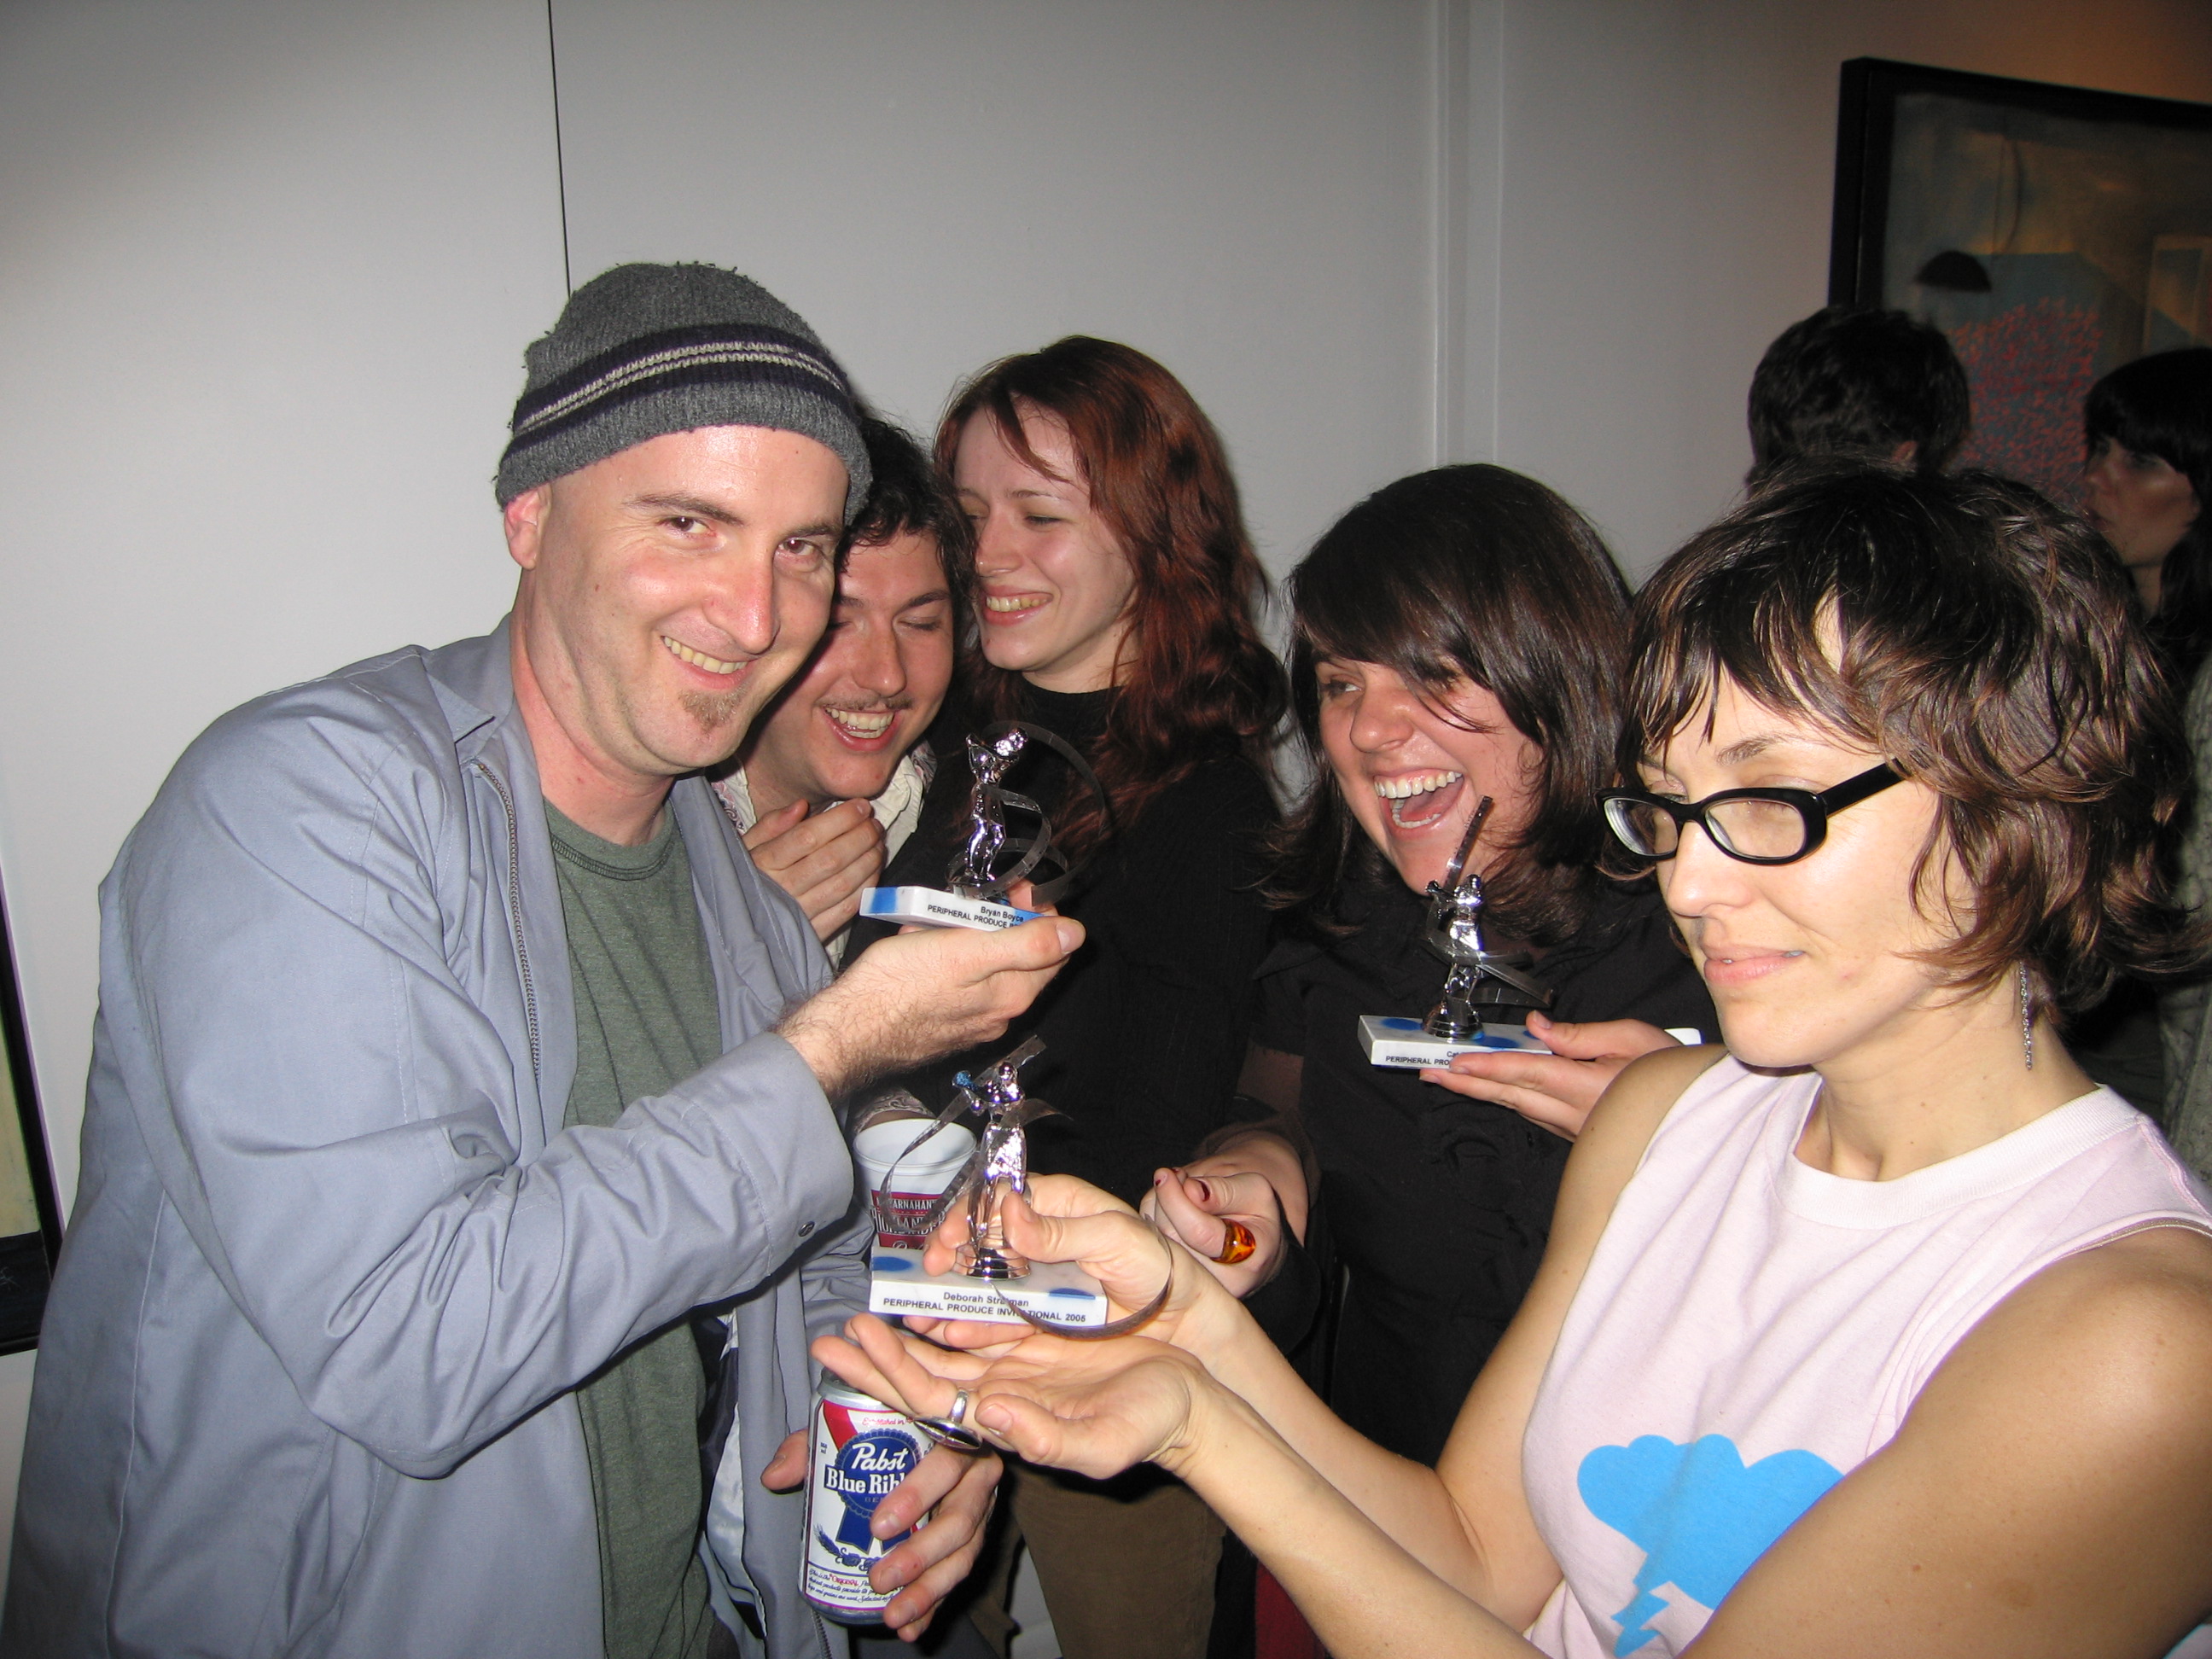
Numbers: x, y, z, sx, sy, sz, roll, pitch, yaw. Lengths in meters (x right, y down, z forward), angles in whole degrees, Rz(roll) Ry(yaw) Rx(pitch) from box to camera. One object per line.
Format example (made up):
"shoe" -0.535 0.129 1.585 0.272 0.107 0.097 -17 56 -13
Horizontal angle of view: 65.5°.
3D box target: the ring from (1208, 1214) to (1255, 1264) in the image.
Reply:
"ring" 0.169 0.551 2.287 0.044 0.028 0.060 20 24 -15

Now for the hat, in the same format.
"hat" -0.524 -0.573 2.121 0.334 0.224 0.335 0 0 -20

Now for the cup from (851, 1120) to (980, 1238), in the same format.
"cup" -0.245 0.433 2.192 0.147 0.119 0.154 4 -7 0
